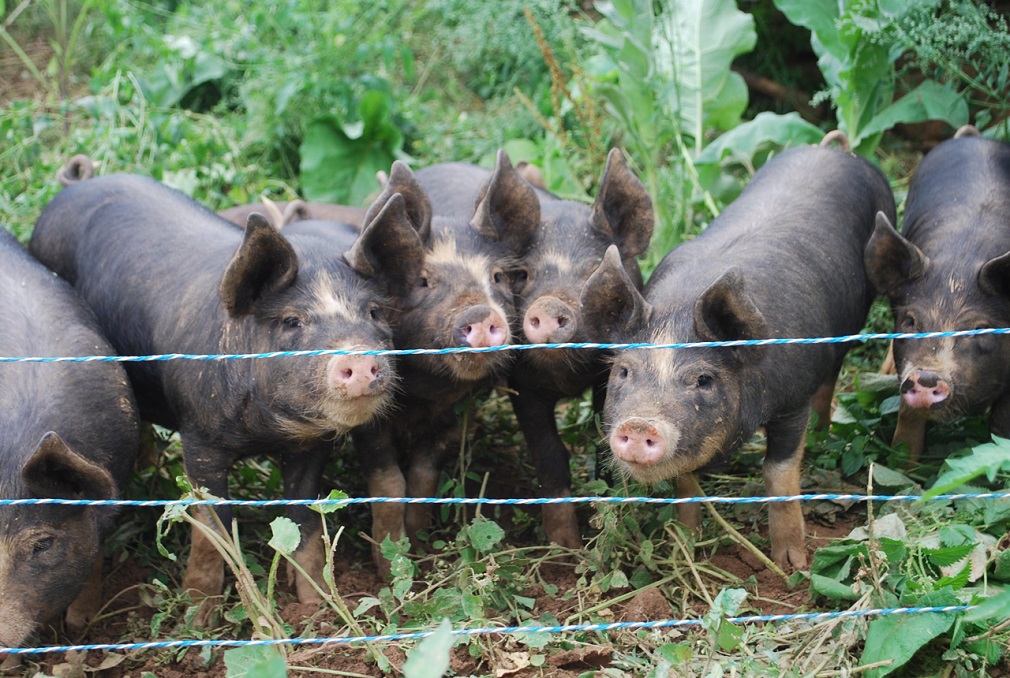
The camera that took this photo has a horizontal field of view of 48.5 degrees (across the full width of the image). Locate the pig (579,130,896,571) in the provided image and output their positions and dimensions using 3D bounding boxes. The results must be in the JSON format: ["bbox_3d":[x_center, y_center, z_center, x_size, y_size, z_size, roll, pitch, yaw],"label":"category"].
[{"bbox_3d":[1.048,0.093,5.102,0.977,1.447,1.901,13,31,28],"label":"pig"}]

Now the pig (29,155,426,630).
[{"bbox_3d":[-1.555,0.089,5.808,1.038,2.081,3.622,-13,21,-37],"label":"pig"}]
